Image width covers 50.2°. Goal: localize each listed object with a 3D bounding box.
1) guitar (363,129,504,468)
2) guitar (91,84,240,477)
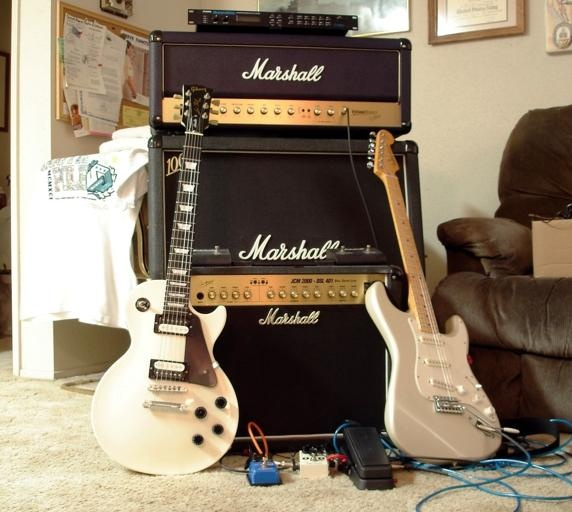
[{"bbox_3d":[0.365,0.074,1.616,0.304,0.836,0.329,0,3,-10],"label":"guitar"},{"bbox_3d":[-0.298,0.033,1.556,0.347,0.971,0.242,0,3,-6],"label":"guitar"}]
